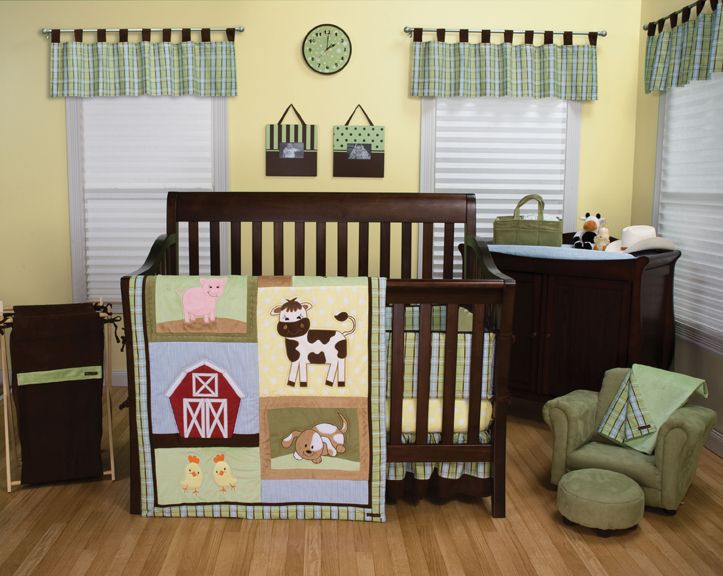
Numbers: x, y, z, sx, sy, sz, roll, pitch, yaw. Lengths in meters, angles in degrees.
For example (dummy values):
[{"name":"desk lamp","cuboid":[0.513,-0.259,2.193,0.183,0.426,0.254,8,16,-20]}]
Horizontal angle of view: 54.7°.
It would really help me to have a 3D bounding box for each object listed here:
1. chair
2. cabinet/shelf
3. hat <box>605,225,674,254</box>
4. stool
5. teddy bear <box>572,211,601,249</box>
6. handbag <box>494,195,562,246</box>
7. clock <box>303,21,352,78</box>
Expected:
[{"name":"chair","cuboid":[1.123,0.623,3.035,0.524,0.530,0.625,6,8,33]},{"name":"cabinet/shelf","cuboid":[1.064,0.276,3.902,0.936,1.022,0.436,5,4,25]},{"name":"hat","cuboid":[1.515,-0.255,3.742,0.233,0.103,0.206,-2,2,-14]},{"name":"stool","cuboid":[0.998,0.890,2.928,0.336,0.170,0.197,2,12,20]},{"name":"teddy bear","cuboid":[1.296,-0.310,3.984,0.147,0.225,0.139,4,0,26]},{"name":"handbag","cuboid":[0.931,-0.370,3.897,0.352,0.303,0.201,3,2,11]},{"name":"clock","cuboid":[-0.205,-1.456,4.217,0.268,0.310,0.022,1,4,-1]}]
